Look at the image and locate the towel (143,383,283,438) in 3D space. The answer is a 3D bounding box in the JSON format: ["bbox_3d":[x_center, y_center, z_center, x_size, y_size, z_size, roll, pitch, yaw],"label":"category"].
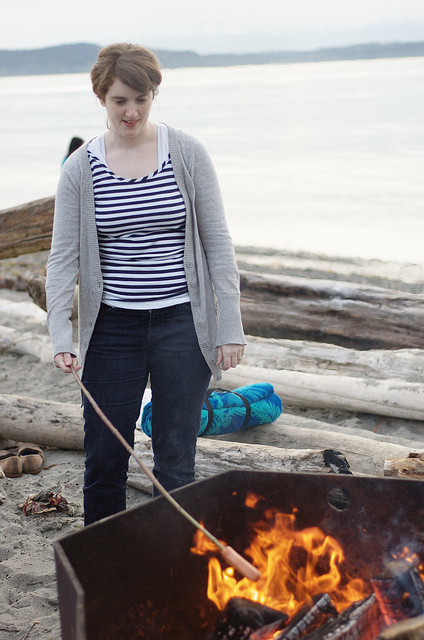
[{"bbox_3d":[0.021,0.516,3.802,0.786,0.255,0.384,-9,7,-11],"label":"towel"}]

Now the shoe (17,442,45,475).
[{"bbox_3d":[-1.045,0.785,3.659,0.100,0.075,0.210,-1,11,-11],"label":"shoe"}]

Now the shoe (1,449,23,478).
[{"bbox_3d":[-1.122,0.792,3.551,0.079,0.064,0.185,-6,17,-27],"label":"shoe"}]

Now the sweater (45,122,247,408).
[{"bbox_3d":[-0.240,-0.181,2.150,0.639,0.951,0.245,-3,7,-12],"label":"sweater"}]

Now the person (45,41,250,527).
[{"bbox_3d":[-0.219,-0.133,2.086,0.640,1.452,0.250,-3,7,-13],"label":"person"}]
